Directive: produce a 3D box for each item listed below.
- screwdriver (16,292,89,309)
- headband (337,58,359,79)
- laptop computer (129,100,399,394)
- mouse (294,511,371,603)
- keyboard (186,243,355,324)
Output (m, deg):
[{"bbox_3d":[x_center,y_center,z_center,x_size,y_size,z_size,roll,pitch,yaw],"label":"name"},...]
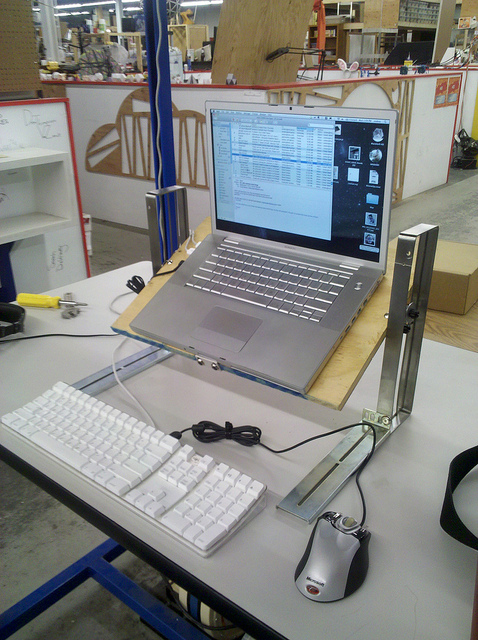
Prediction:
[{"bbox_3d":[-0.449,-0.047,1.203,0.123,0.024,0.028,6,17,13],"label":"screwdriver"},{"bbox_3d":[0.900,-2.093,4.146,0.158,0.148,0.404,3,24,11],"label":"headband"},{"bbox_3d":[0.015,-0.133,0.718,0.368,0.279,0.309,12,45,26],"label":"laptop computer"},{"bbox_3d":[0.098,0.241,0.520,0.068,0.031,0.101,16,35,35],"label":"mouse"},{"bbox_3d":[0.030,-0.073,0.749,0.299,0.023,0.118,18,61,37],"label":"keyboard"}]
